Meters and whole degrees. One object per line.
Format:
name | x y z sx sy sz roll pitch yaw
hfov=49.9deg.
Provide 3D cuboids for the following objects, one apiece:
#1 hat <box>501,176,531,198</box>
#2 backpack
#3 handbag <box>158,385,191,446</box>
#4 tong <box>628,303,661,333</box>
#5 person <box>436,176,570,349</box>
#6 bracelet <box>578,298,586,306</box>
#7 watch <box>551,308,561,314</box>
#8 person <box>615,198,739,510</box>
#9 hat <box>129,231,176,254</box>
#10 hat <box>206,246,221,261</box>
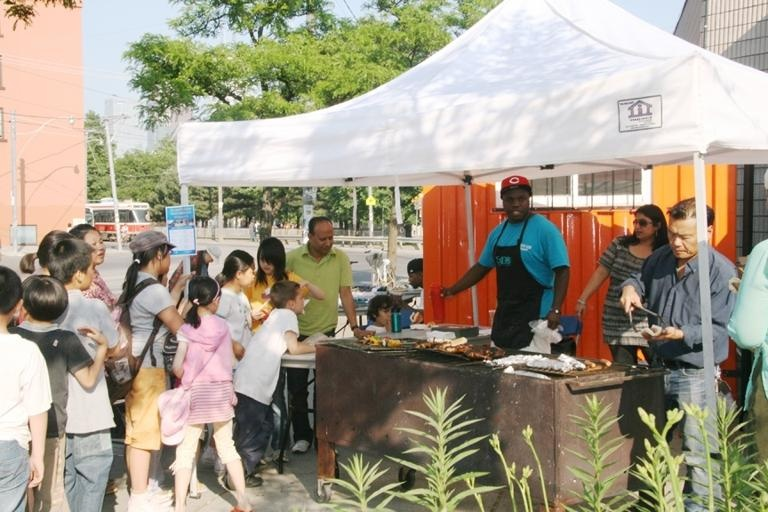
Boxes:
hat | 1.144 -0.600 7.209 0.227 0.169 0.332 -2 -2 8
backpack | -2.044 0.668 6.561 0.499 0.986 0.374 -6 -13 43
handbag | -1.645 1.237 6.480 0.281 0.412 0.121 7 5 -1
tong | 2.084 0.485 6.579 0.233 0.074 0.231 40 20 10
person | 1.262 0.093 7.249 0.579 1.461 0.529 4 -9 -8
bracelet | 1.847 0.431 7.663 0.085 0.054 0.080 4 -10 -6
watch | 1.457 0.466 6.986 0.077 0.042 0.034 6 -10 -14
person | 2.094 0.671 5.896 0.792 2.204 0.644 -1 -10 23
hat | -1.839 -0.119 6.631 0.272 0.121 0.190 -9 9 -37
hat | -1.791 -0.033 8.674 0.110 0.183 0.234 -7 1 -1
